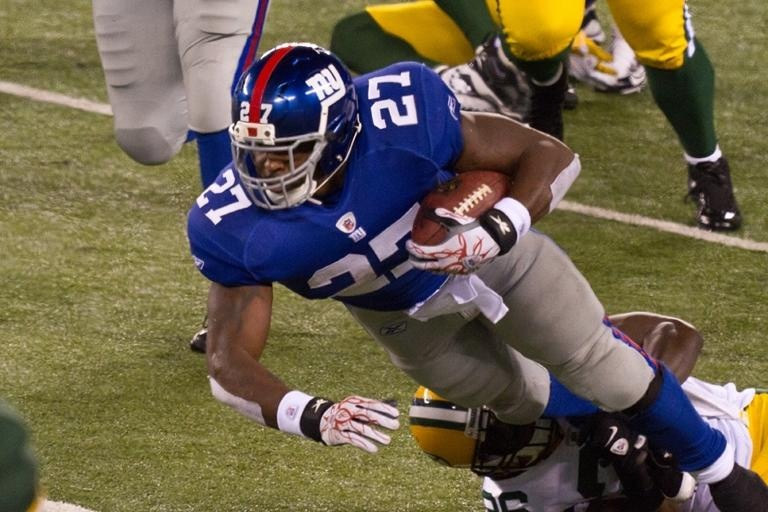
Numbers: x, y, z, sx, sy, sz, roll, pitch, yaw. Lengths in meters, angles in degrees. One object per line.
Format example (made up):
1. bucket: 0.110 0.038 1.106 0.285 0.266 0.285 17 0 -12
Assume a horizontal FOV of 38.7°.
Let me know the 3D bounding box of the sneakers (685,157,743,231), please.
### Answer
1. sneakers: 1.676 -0.304 5.600 0.175 0.211 0.459 -19 61 17

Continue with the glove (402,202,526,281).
1. glove: 0.306 -0.074 3.965 0.395 0.180 0.222 -32 55 -5

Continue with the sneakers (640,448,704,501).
1. sneakers: 1.119 0.856 4.279 0.296 0.099 0.121 44 15 25

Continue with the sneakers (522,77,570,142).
1. sneakers: 0.805 -0.717 5.670 0.156 0.413 0.289 5 10 35

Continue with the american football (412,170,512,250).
1. american football: 0.275 -0.204 3.976 0.386 0.126 0.200 -37 53 -8

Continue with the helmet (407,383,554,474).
1. helmet: 0.382 0.724 4.488 0.495 0.328 0.343 15 -3 -2
